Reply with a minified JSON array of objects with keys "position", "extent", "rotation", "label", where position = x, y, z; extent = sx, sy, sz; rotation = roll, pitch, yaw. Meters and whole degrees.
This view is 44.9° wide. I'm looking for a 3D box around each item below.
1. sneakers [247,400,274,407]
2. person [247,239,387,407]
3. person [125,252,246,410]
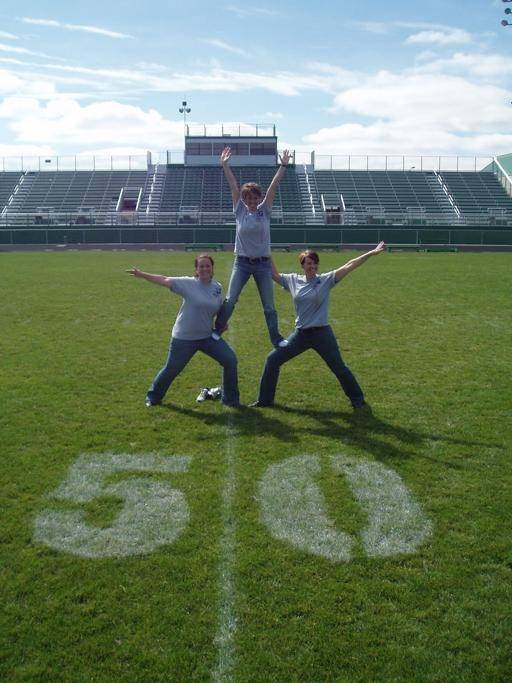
[{"position":[0.046,0.614,6.074],"extent":[0.244,0.095,0.081],"rotation":[-3,2,2],"label":"sneakers"},{"position":[0.531,-0.094,5.831],"extent":[0.903,1.519,0.595],"rotation":[9,15,33],"label":"person"},{"position":[-0.601,-0.064,5.732],"extent":[0.909,1.471,0.527],"rotation":[0,12,-2],"label":"person"}]
